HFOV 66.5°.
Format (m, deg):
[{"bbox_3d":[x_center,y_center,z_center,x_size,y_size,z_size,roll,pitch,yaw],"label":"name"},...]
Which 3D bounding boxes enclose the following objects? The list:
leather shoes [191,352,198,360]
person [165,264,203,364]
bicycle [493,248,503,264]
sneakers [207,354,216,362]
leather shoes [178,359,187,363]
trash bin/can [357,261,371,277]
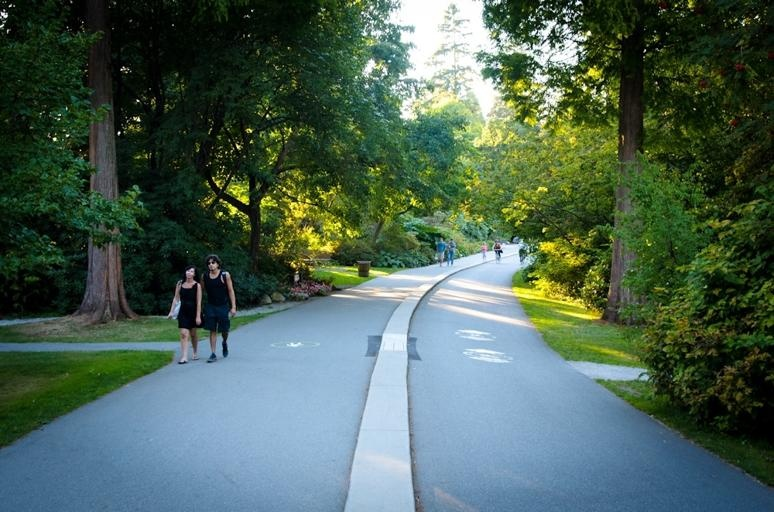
[{"bbox_3d":[-4.752,2.480,14.642,0.090,0.123,0.278,2,4,-3],"label":"leather shoes"},{"bbox_3d":[-4.972,1.436,14.664,0.748,2.419,1.553,-5,15,-21],"label":"person"},{"bbox_3d":[9.692,-0.001,51.310,0.899,1.148,1.865,-1,2,14],"label":"bicycle"},{"bbox_3d":[-4.241,2.488,14.274,0.104,0.135,0.288,0,-10,1],"label":"sneakers"},{"bbox_3d":[-4.922,2.533,14.203,0.207,0.098,0.166,-2,13,-10],"label":"leather shoes"},{"bbox_3d":[-1.286,0.777,34.903,0.807,0.752,0.791,-2,2,-19],"label":"trash bin/can"}]
